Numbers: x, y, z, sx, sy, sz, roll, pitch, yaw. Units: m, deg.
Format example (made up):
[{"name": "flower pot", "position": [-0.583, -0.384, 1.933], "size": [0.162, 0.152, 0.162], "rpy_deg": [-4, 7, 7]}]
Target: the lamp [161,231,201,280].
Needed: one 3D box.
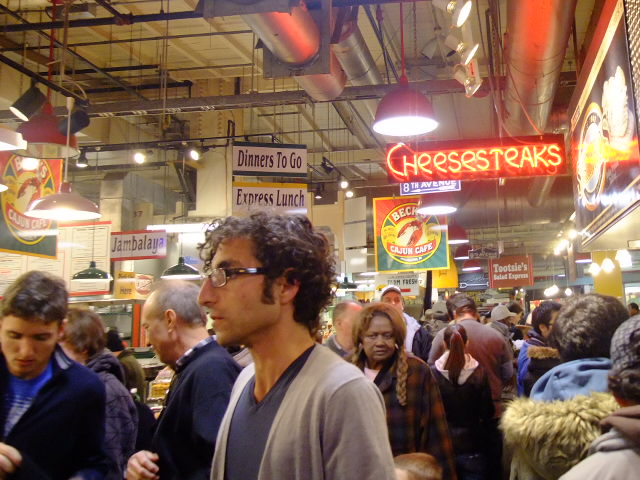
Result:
[{"name": "lamp", "position": [-3.082, 0.319, 12.125], "size": [0.986, 1.001, 0.996], "rpy_deg": [-2, -14, 3]}]

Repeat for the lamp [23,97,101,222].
[{"name": "lamp", "position": [-2.990, -1.000, 6.259], "size": [0.806, 1.628, 1.658], "rpy_deg": [3, -9, -26]}]
